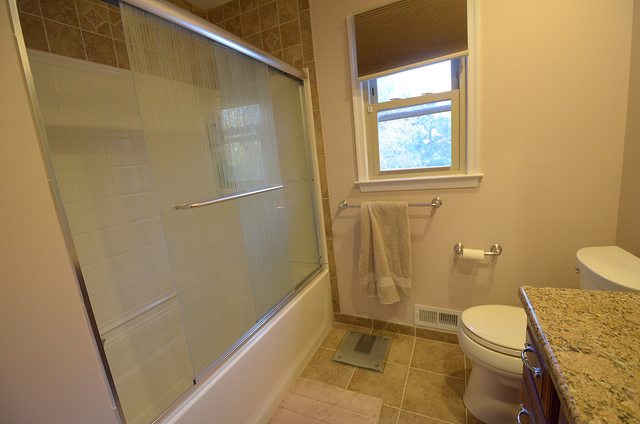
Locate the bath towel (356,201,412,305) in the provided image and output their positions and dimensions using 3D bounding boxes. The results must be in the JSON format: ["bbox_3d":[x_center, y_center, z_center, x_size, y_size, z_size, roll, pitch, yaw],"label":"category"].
[{"bbox_3d":[0.448,0.308,3.059,0.430,0.765,0.111,2,20,25],"label":"bath towel"}]
